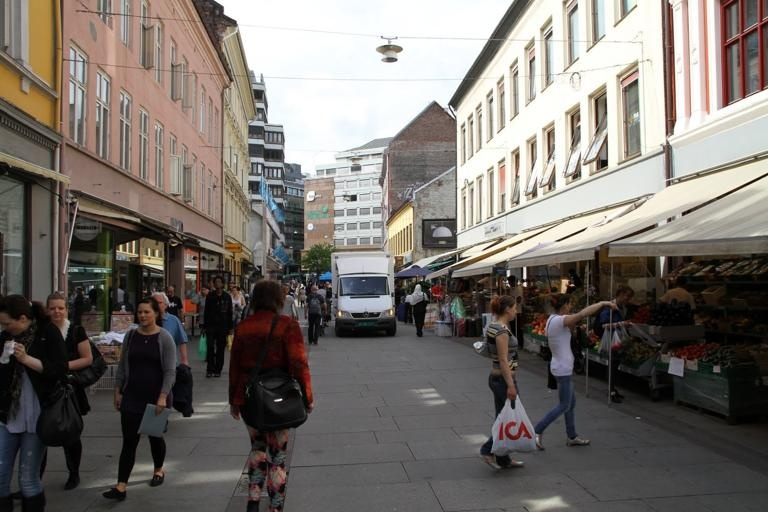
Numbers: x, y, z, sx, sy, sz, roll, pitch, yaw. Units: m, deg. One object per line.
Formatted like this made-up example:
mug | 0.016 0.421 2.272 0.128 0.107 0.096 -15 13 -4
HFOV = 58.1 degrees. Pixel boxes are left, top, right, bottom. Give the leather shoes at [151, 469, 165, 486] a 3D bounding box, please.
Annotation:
leather shoes | -3.134 3.060 9.512 0.105 0.086 0.274 1 2 -5

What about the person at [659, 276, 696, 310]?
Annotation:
person | 6.175 0.737 14.524 0.710 0.395 0.662 -21 -39 7

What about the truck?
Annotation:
truck | -0.862 1.533 27.554 2.424 3.229 2.726 -1 2 -5

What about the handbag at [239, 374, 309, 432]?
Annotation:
handbag | -1.312 1.741 8.371 0.669 0.702 0.400 -4 1 -27

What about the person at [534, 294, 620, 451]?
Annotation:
person | 2.857 1.779 10.855 0.834 2.347 1.298 1 3 31

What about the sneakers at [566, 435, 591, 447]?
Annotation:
sneakers | 3.045 2.896 10.824 0.305 0.134 0.154 -3 5 3

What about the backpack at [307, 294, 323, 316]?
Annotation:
backpack | -2.384 1.688 23.759 0.449 0.719 0.694 1 -18 0

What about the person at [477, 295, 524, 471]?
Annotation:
person | 1.698 1.811 10.116 0.591 2.448 0.670 0 2 8

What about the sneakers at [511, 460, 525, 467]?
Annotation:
sneakers | 1.939 3.003 10.040 0.179 0.073 0.242 0 2 22

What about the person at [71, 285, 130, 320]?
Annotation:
person | -7.479 1.203 18.093 0.989 0.650 1.012 0 -3 -9

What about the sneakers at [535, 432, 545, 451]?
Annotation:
sneakers | 2.403 2.862 10.663 0.180 0.237 0.580 0 -6 5

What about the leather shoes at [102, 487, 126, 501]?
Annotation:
leather shoes | -3.549 3.113 9.078 0.299 0.154 0.134 0 2 13

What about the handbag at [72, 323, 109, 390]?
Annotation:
handbag | -3.914 1.504 9.197 0.307 0.472 0.550 -1 2 0
